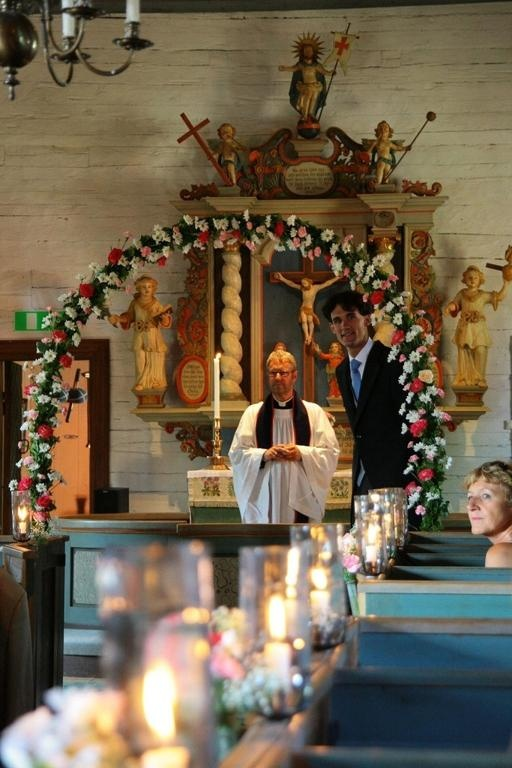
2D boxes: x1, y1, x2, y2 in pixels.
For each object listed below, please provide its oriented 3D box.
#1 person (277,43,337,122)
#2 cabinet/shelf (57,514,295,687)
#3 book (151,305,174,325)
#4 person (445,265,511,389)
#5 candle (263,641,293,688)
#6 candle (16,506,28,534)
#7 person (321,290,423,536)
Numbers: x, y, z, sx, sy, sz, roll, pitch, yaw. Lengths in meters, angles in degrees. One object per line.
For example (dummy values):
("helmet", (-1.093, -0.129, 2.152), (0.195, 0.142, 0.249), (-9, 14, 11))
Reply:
("person", (0.430, -2.593, 7.441), (0.399, 0.945, 0.650), (-1, -6, 5))
("cabinet/shelf", (-0.464, 0.961, 4.604), (1.563, 0.527, 1.466), (2, -5, -34))
("book", (-0.740, -0.565, 7.166), (0.163, 0.146, 0.042), (-25, 61, -40))
("person", (1.753, -0.446, 7.105), (0.480, 0.971, 0.287), (-1, -6, 7))
("candle", (0.031, 0.351, 1.135), (0.048, 0.065, 0.044), (-1, 3, 6))
("candle", (-0.907, 0.528, 3.509), (0.041, 0.113, 0.046), (1, -6, -14))
("person", (0.516, 0.110, 4.095), (0.396, 1.083, 0.488), (-2, -6, 13))
